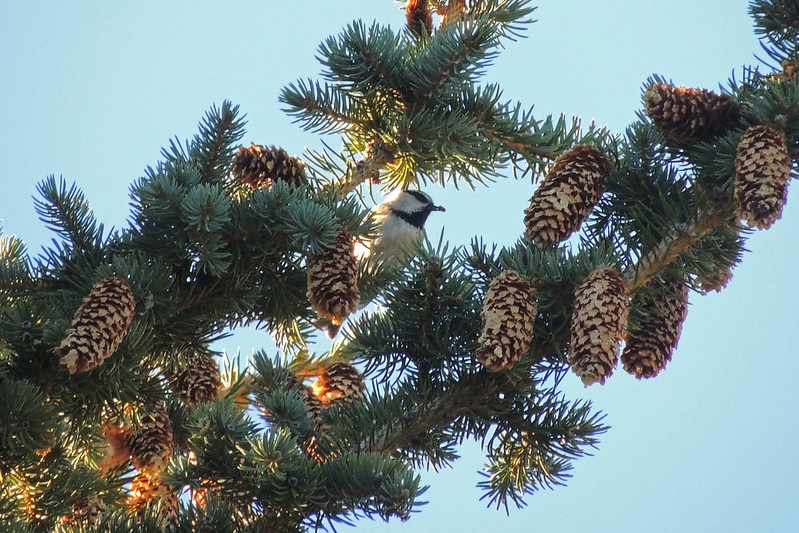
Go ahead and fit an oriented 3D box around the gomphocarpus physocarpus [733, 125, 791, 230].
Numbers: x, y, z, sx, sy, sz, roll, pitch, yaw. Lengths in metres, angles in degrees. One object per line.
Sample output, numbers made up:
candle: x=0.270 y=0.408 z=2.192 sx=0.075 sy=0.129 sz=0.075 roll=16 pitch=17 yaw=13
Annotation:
gomphocarpus physocarpus: x=1.654 y=-0.391 z=8.311 sx=0.291 sy=0.540 sz=0.306 roll=-10 pitch=-58 yaw=12
